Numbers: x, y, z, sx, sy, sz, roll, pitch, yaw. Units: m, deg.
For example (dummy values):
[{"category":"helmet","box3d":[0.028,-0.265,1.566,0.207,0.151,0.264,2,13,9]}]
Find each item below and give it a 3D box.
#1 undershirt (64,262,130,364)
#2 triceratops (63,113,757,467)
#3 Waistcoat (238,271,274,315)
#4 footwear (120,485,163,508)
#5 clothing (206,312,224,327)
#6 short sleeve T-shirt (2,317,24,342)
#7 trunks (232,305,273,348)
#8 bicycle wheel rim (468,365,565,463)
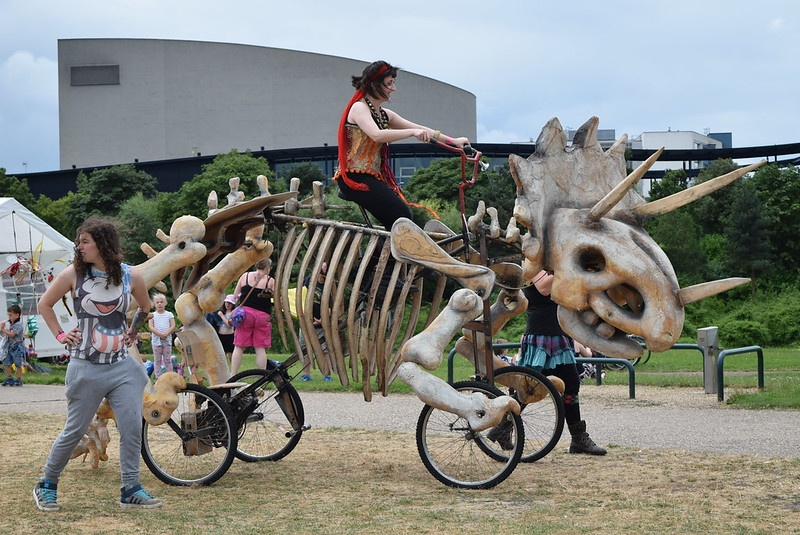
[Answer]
[{"category":"undershirt","box3d":[-4.953,0.783,20.777,0.959,1.656,0.764,1,-11,-10]},{"category":"triceratops","box3d":[-0.174,-0.337,25.235,13.968,7.086,4.404,10,-1,20]},{"category":"Waistcoat","box3d":[-2.889,0.498,24.897,0.717,0.883,0.502,9,-12,-7]},{"category":"footwear","box3d":[-4.307,3.760,20.834,0.735,0.335,0.307,2,-4,1]},{"category":"clothing","box3d":[-4.030,1.135,27.086,0.351,0.453,0.140,2,7,23]},{"category":"short sleeve T-shirt","box3d":[-9.178,1.497,30.151,0.488,0.483,0.447,-16,-5,28]},{"category":"trunks","box3d":[-3.011,1.182,25.507,0.902,0.851,0.507,6,-4,-20]},{"category":"bicycle wheel rim","box3d":[2.481,2.509,22.731,1.746,1.669,0.424,-1,4,15]}]
